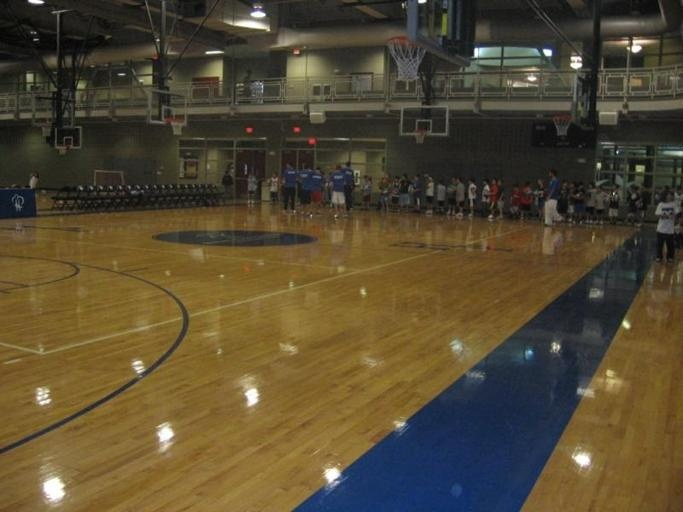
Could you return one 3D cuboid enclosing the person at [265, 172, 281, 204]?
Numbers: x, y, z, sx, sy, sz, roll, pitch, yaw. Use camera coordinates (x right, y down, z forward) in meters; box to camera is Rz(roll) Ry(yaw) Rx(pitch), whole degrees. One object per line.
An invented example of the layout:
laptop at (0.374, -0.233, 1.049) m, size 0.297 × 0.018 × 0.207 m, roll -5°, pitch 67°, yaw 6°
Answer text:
person at (-3.327, -3.296, 27.234) m, size 0.596 × 1.399 × 2.237 m, roll 0°, pitch 8°, yaw -8°
